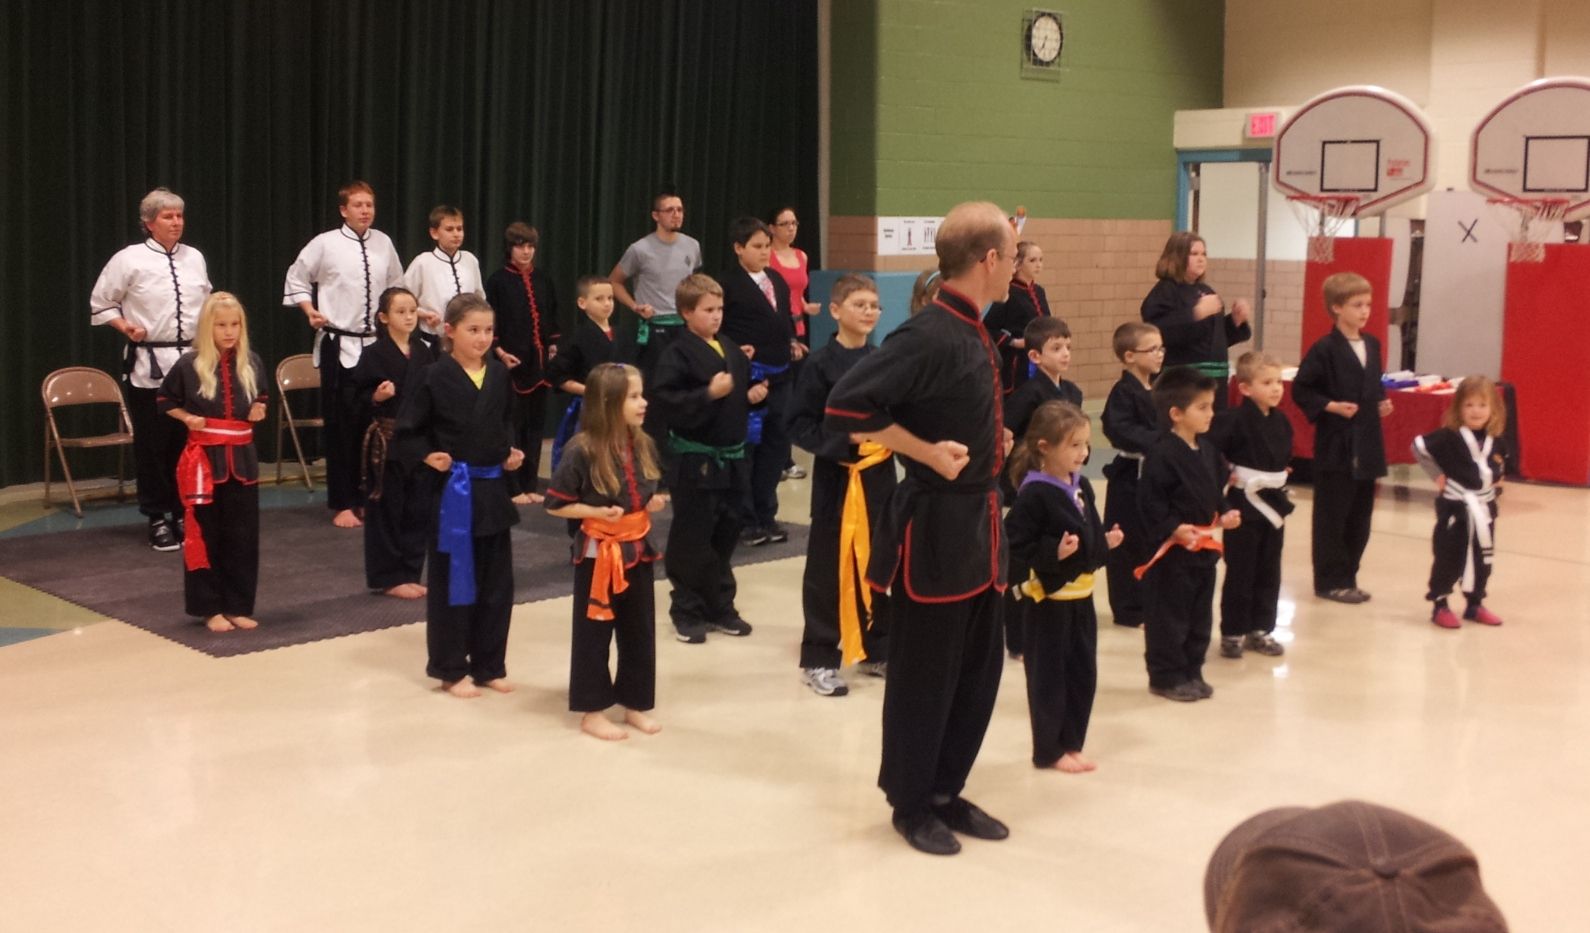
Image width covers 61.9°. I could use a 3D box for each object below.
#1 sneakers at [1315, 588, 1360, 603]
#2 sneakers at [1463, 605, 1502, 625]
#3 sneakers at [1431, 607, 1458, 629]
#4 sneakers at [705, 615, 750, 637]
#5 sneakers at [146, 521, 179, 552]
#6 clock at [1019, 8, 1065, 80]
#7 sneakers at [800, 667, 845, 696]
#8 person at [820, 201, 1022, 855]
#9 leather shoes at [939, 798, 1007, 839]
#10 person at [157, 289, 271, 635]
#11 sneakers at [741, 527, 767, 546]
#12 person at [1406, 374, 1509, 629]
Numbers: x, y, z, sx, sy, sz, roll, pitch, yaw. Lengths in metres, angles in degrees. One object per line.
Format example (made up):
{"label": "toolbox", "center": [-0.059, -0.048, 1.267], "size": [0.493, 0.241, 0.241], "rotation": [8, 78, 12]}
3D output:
{"label": "sneakers", "center": [3.478, 0.804, 8.379], "size": [0.224, 0.065, 0.089], "rotation": [4, 9, 38]}
{"label": "sneakers", "center": [4.226, 0.892, 8.061], "size": [0.093, 0.067, 0.177], "rotation": [-11, 11, -41]}
{"label": "sneakers", "center": [3.971, 0.904, 8.047], "size": [0.089, 0.063, 0.176], "rotation": [-6, 4, -8]}
{"label": "sneakers", "center": [-0.385, 0.947, 7.944], "size": [0.307, 0.121, 0.110], "rotation": [0, 0, 13]}
{"label": "sneakers", "center": [-4.294, 0.460, 8.961], "size": [0.129, 0.107, 0.282], "rotation": [-7, 9, -40]}
{"label": "clock", "center": [2.606, -4.479, 13.968], "size": [0.263, 0.859, 0.794], "rotation": [3, 7, 42]}
{"label": "sneakers", "center": [0.165, 1.155, 7.228], "size": [0.241, 0.106, 0.112], "rotation": [7, 12, 39]}
{"label": "person", "center": [0.596, 0.261, 5.911], "size": [0.785, 2.812, 0.494], "rotation": [1, 12, 5]}
{"label": "leather shoes", "center": [0.813, 1.590, 6.071], "size": [0.371, 0.120, 0.138], "rotation": [12, 30, 32]}
{"label": "person", "center": [-3.369, -0.037, 7.707], "size": [0.525, 1.918, 0.503], "rotation": [-6, 14, -24]}
{"label": "sneakers", "center": [-0.277, 0.487, 9.388], "size": [0.183, 0.118, 0.102], "rotation": [-6, -1, 17]}
{"label": "person", "center": [4.102, 0.194, 8.070], "size": [0.503, 1.456, 0.561], "rotation": [1, 12, 4]}
